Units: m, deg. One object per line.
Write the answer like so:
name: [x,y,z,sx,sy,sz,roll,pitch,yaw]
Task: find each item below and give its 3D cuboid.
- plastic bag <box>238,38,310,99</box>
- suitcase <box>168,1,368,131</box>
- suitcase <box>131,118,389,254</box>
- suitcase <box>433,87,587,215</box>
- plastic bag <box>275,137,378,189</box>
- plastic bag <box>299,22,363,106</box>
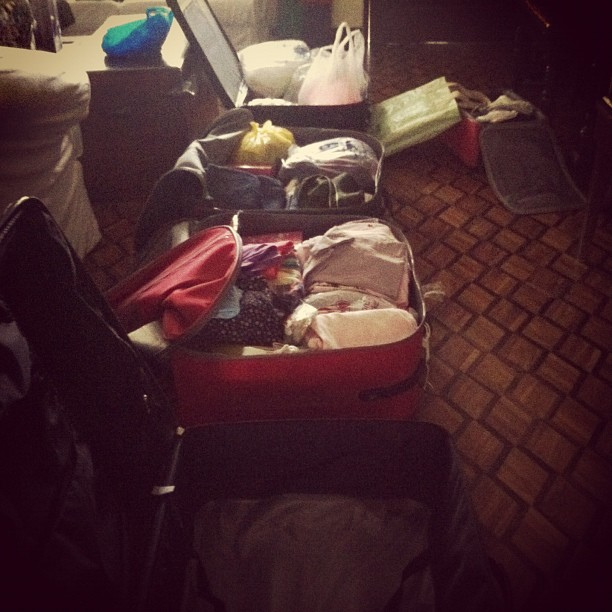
plastic bag: [-0.186,-1.299,3.011,0.340,0.140,0.370,-8,51,-6]
suitcase: [-0.092,-1.078,2.740,0.668,0.459,0.754,-10,46,5]
suitcase: [-0.124,-0.509,2.225,0.747,0.684,0.559,-3,38,1]
suitcase: [1.005,-0.700,2.673,0.383,0.212,0.745,-9,55,-2]
plastic bag: [0.089,-0.622,2.445,0.457,0.189,0.364,7,26,6]
plastic bag: [0.130,-1.088,2.777,0.243,0.420,0.359,-11,52,-13]
